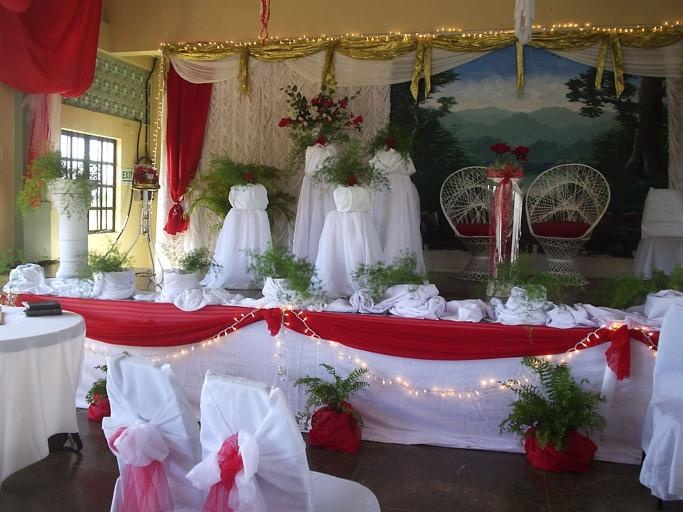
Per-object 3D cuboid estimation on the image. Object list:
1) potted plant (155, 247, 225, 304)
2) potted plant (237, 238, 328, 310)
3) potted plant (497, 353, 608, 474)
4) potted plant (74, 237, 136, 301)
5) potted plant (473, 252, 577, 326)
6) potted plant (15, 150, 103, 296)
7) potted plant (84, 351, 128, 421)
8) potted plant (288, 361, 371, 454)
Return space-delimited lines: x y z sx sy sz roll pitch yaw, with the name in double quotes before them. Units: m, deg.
"potted plant" -1.443 0.164 5.429 0.484 0.458 1.177 0 1 -9
"potted plant" -0.454 0.151 4.924 0.497 0.492 0.805 -1 2 -28
"potted plant" 1.572 1.099 4.377 0.716 0.850 0.772 6 -4 -31
"potted plant" -2.132 0.134 5.298 0.435 0.492 0.458 1 -5 0
"potted plant" 1.420 0.330 4.461 0.597 0.244 0.629 0 18 20
"potted plant" -2.654 -0.309 5.320 0.814 1.303 0.503 0 2 -1
"potted plant" -2.037 1.159 4.831 0.198 0.412 0.218 -10 -22 12
"potted plant" -0.060 1.198 4.513 0.547 0.633 0.489 -10 -17 30
